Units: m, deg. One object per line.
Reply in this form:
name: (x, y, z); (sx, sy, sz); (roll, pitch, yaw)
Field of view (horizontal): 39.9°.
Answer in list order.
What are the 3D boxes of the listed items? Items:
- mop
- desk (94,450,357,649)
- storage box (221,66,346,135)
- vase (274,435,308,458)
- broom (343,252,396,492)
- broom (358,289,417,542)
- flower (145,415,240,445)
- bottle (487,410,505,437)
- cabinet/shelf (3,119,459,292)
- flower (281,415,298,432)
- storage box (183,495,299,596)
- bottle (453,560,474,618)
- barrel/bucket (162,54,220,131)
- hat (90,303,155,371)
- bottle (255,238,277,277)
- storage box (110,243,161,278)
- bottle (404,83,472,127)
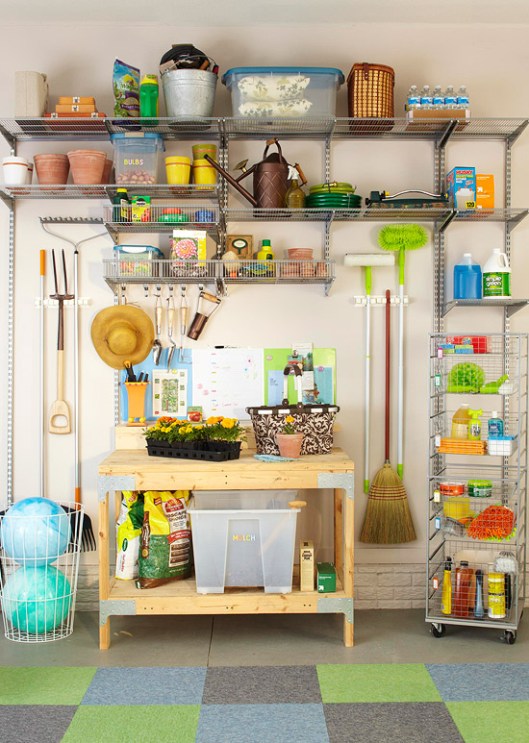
mop: (0.663, -0.103, 3.526); (0.227, 1.280, 0.132); (-1, 8, -2)
desk: (-0.160, 0.750, 3.146); (1.053, 0.778, 0.481); (0, 0, -1)
storage box: (0.082, -1.236, 3.366); (0.542, 0.233, 0.293); (0, 0, 0)
vase: (0.105, 0.308, 3.082); (0.106, 0.078, 0.102); (0, 2, -3)
broom: (0.507, -0.056, 3.580); (0.202, 1.294, 0.108); (7, 10, 36)
broom: (0.597, 0.233, 3.537); (0.277, 1.247, 0.153); (0, 0, 6)
flower: (-0.313, 0.254, 3.142); (0.395, 0.099, 0.194); (0, 0, -7)
bottle: (0.987, 0.228, 3.136); (0.061, 0.108, 0.176); (0, 0, 16)
cabinet/shelf: (-0.210, -0.811, 3.465); (2.607, 0.800, 0.280); (0, 0, -3)
flower: (0.106, 0.226, 3.106); (0.062, 0.079, 0.123); (0, 0, 3)
storage box: (-0.093, 0.696, 3.107); (0.503, 0.366, 0.427); (1, 1, -2)
bottle: (0.853, 0.953, 3.137); (0.084, 0.194, 0.066); (0, 0, 14)
barrel/bucket: (-0.333, -1.224, 3.252); (0.221, 0.308, 0.252); (2, 12, -4)
hat: (-0.680, -0.164, 3.528); (0.300, 0.317, 0.097); (0, 0, -12)
bottle: (0.001, -0.533, 3.440); (0.086, 0.199, 0.256); (0, 0, -1)
storage box: (-0.579, -0.508, 3.360); (0.217, 0.151, 0.121); (0, 0, -9)
bottle: (0.786, -1.219, 3.360); (0.283, 0.169, 0.216); (0, 0, 7)
